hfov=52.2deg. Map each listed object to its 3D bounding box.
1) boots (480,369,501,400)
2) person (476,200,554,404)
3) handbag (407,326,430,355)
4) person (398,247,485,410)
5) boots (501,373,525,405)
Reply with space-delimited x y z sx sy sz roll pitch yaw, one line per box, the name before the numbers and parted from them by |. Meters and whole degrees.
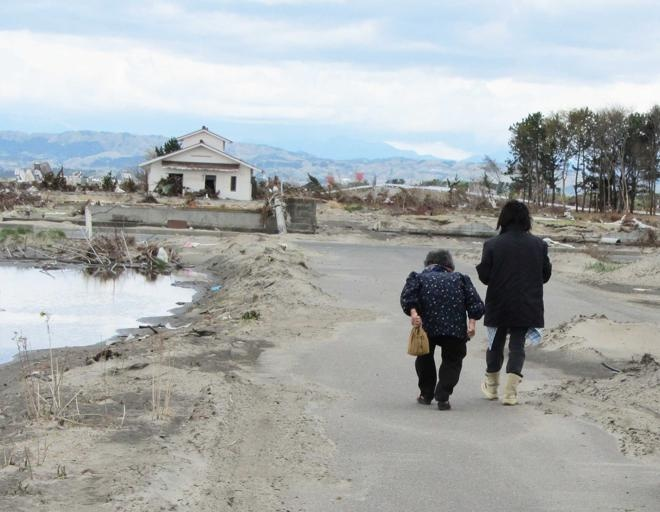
boots | 1.955 1.487 7.993 0.171 0.275 0.409 2 12 -3
person | 2.037 0.538 7.633 0.721 2.314 0.534 7 8 38
handbag | 0.978 0.939 7.337 0.220 0.384 0.304 3 6 9
person | 1.225 0.935 7.445 0.897 1.469 0.507 3 7 3
boots | 2.067 1.487 7.644 0.197 0.347 0.396 2 1 29
